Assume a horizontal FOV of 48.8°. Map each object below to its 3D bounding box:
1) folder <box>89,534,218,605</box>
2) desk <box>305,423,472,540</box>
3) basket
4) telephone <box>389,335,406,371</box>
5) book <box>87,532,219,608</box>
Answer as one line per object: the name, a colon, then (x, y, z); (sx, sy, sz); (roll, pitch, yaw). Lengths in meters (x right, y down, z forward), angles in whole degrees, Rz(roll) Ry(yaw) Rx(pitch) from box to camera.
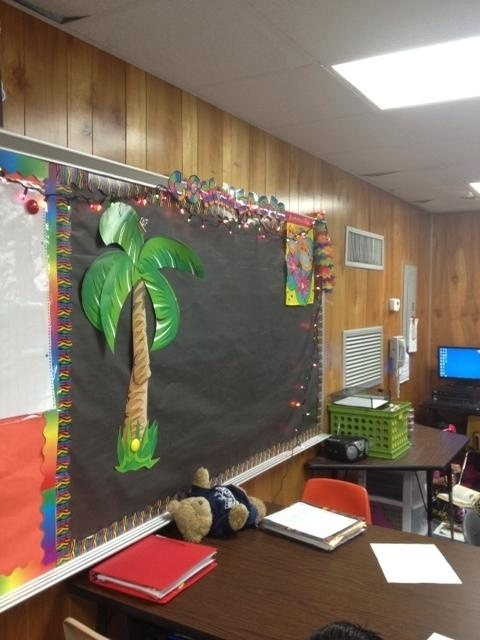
folder: (-0.250, 0.710, 1.496); (0.198, 0.050, 0.224); (4, 6, 23)
desk: (0.858, 0.766, 2.968); (0.632, 0.690, 0.665); (3, 8, 32)
basket: (0.765, 0.624, 3.096); (0.457, 0.260, 0.471); (0, -2, -34)
telephone: (1.232, 0.260, 4.119); (0.078, 0.199, 0.288); (2, -1, 35)
book: (-0.252, 0.711, 1.494); (0.216, 0.054, 0.241); (3, 5, 23)
